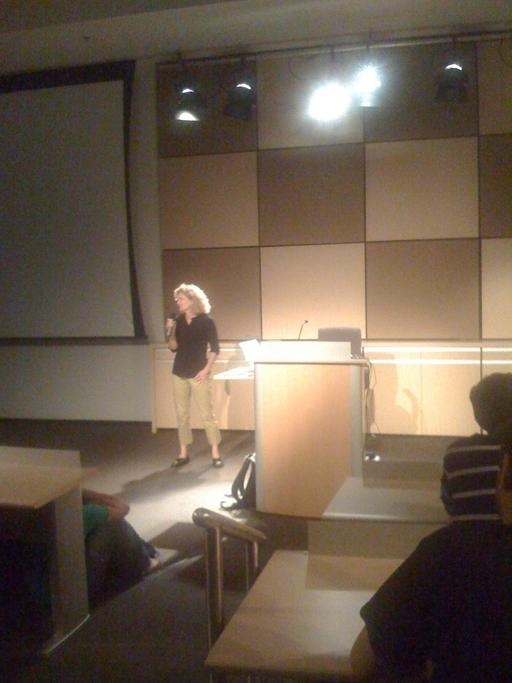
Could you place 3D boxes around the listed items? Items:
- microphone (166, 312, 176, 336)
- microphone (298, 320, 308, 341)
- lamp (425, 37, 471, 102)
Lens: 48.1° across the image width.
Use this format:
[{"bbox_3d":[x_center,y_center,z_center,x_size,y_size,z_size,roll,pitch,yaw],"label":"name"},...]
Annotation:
[{"bbox_3d":[-0.614,-0.122,4.138,0.057,0.163,0.268,0,2,-7],"label":"microphone"},{"bbox_3d":[0.416,-0.104,5.084,0.100,0.175,0.234,0,2,-6],"label":"microphone"},{"bbox_3d":[1.548,-2.190,4.600,0.274,0.517,0.228,1,2,20],"label":"lamp"}]
